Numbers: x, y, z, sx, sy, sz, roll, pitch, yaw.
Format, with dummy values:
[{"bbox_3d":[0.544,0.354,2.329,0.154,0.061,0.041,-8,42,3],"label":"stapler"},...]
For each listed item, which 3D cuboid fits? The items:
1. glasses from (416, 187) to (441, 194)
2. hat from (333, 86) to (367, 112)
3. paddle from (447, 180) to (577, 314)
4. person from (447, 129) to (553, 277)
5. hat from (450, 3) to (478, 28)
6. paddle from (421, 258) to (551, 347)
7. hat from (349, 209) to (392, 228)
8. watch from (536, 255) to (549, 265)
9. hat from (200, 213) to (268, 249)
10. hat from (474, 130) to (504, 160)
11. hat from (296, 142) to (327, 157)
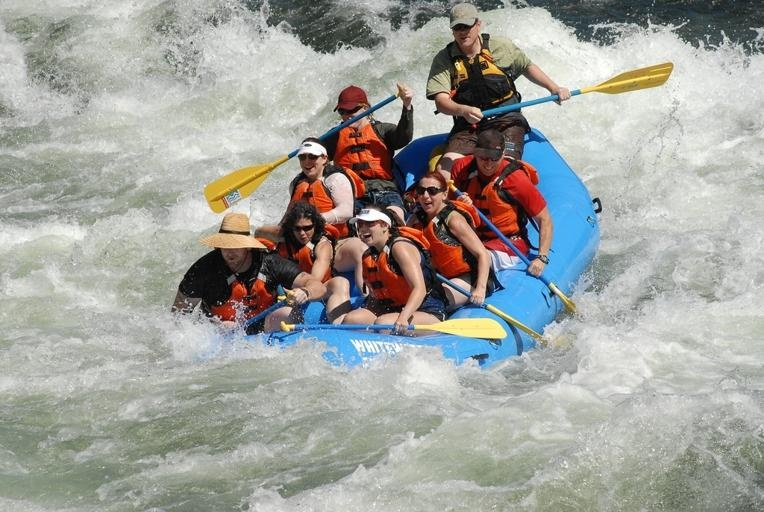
[{"bbox_3d":[0.453,-0.595,7.904,0.228,0.054,0.071,0,83,3],"label":"glasses"},{"bbox_3d":[-0.293,-1.687,9.233,0.256,0.348,0.188,0,95,31],"label":"hat"},{"bbox_3d":[1.229,-0.042,8.301,1.850,0.208,0.222,39,41,-2],"label":"paddle"},{"bbox_3d":[1.144,-0.470,8.402,1.083,1.297,0.918,14,52,29],"label":"person"},{"bbox_3d":[0.867,-2.490,8.830,0.279,0.321,0.306,2,83,4],"label":"hat"},{"bbox_3d":[0.953,0.458,7.997,1.655,0.193,0.079,24,81,3],"label":"paddle"},{"bbox_3d":[-0.071,-0.327,7.637,0.261,0.171,0.078,5,78,-32],"label":"hat"},{"bbox_3d":[1.584,0.041,8.347,0.098,0.076,0.035,23,80,42],"label":"watch"},{"bbox_3d":[-1.314,-0.184,7.822,0.418,0.407,0.198,6,91,15],"label":"hat"},{"bbox_3d":[1.040,-1.043,8.144,0.236,0.154,0.300,6,41,9],"label":"hat"},{"bbox_3d":[-0.673,-1.056,8.526,0.278,0.377,0.118,-1,86,8],"label":"hat"}]
